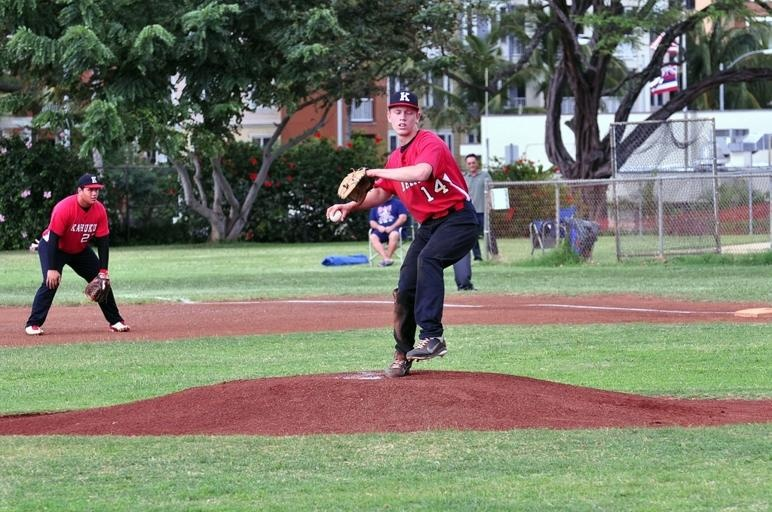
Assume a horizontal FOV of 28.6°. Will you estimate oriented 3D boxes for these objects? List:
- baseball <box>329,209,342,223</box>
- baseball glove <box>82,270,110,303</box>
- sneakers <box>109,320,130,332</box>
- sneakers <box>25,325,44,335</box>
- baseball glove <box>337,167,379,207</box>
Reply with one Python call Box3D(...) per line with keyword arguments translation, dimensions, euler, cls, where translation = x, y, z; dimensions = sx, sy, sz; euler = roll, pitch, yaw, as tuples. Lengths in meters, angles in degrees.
Box3D(translation=(-0.857, -0.643, 25.663), dimensions=(0.201, 0.140, 0.189), euler=(1, -8, 9), cls="baseball")
Box3D(translation=(-5.502, 0.623, 29.222), dimensions=(0.450, 0.550, 0.234), euler=(40, 11, 23), cls="baseball glove")
Box3D(translation=(-5.150, 1.398, 29.500), dimensions=(0.380, 0.175, 0.170), euler=(-1, 3, 28), cls="sneakers")
Box3D(translation=(-6.748, 1.450, 29.251), dimensions=(0.287, 0.133, 0.161), euler=(-1, 1, 38), cls="sneakers")
Box3D(translation=(-0.521, -1.133, 25.612), dimensions=(0.644, 0.271, 0.487), euler=(-36, 12, 21), cls="baseball glove")
